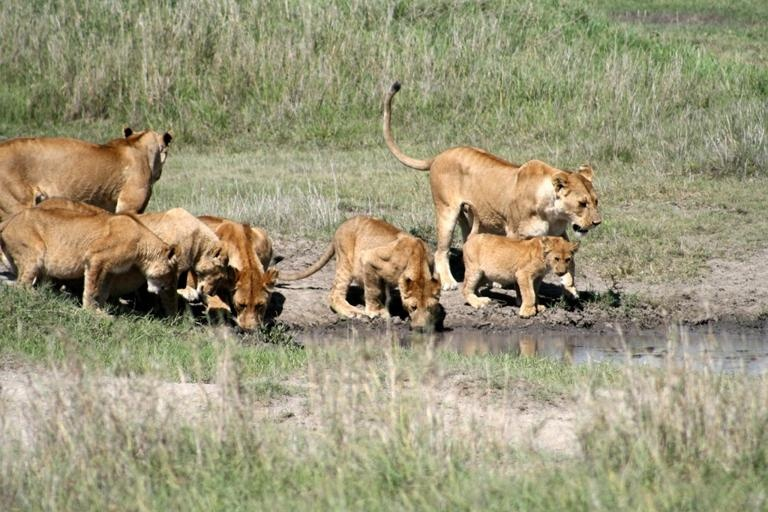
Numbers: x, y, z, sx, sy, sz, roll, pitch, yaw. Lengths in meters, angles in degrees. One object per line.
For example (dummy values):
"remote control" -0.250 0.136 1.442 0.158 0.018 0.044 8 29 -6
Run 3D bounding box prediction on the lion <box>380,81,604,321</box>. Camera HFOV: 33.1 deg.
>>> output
"lion" 1.487 -0.928 19.892 3.755 2.912 1.193 17 26 26

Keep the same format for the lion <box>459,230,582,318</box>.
"lion" 1.922 0.205 19.032 1.662 1.236 0.417 9 13 22

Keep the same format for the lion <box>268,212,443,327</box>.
"lion" -0.075 0.257 18.824 2.290 1.366 0.709 15 17 39
